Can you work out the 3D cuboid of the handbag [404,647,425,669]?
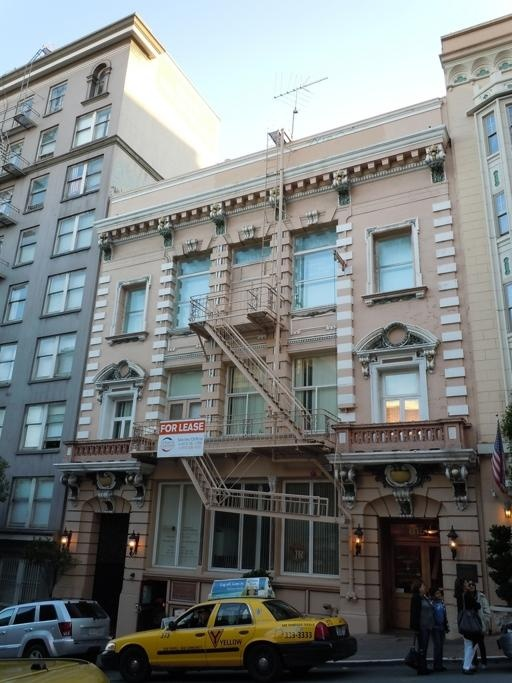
[{"bbox_3d":[2.828,5.671,10.560,0.296,0.318,0.364,6,-21,-11],"label":"handbag"}]

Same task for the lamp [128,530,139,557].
[{"bbox_3d":[-4.393,7.162,20.895,0.435,0.853,0.204,-9,-24,27],"label":"lamp"}]

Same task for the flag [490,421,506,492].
[{"bbox_3d":[6.170,2.881,14.932,0.321,1.760,1.195,-7,-23,21],"label":"flag"}]

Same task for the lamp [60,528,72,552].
[{"bbox_3d":[-7.183,7.426,22.116,0.416,0.762,0.560,6,-21,-10],"label":"lamp"}]

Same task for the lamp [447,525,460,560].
[{"bbox_3d":[5.192,5.253,15.436,0.267,0.830,0.230,-10,-25,28],"label":"lamp"}]

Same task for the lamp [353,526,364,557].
[{"bbox_3d":[2.925,5.645,16.690,0.312,0.827,0.233,-1,-22,7],"label":"lamp"}]
